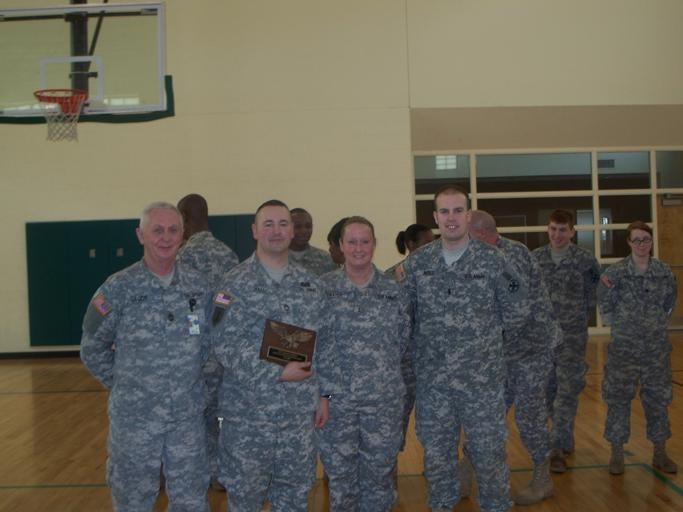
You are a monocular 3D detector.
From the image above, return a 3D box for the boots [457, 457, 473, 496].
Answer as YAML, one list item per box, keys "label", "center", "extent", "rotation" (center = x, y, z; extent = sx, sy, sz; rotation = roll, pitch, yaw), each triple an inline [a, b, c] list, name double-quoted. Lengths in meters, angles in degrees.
- label: "boots"
  center: [1.100, 1.964, 6.628]
  extent: [0.168, 0.357, 0.082]
  rotation: [2, 3, 10]

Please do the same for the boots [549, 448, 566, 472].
- label: "boots"
  center: [2.045, 1.879, 7.064]
  extent: [0.154, 0.117, 0.292]
  rotation: [0, 33, 6]

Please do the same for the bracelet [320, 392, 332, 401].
- label: "bracelet"
  center: [-0.132, 1.126, 5.952]
  extent: [0.066, 0.042, 0.080]
  rotation: [7, -11, -29]

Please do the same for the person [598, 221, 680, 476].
- label: "person"
  center: [2.788, 0.850, 6.946]
  extent: [0.711, 2.297, 0.337]
  rotation: [-1, 4, 1]

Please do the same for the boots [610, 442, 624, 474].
- label: "boots"
  center: [2.551, 1.877, 6.902]
  extent: [0.133, 0.280, 0.110]
  rotation: [-1, 4, 7]
